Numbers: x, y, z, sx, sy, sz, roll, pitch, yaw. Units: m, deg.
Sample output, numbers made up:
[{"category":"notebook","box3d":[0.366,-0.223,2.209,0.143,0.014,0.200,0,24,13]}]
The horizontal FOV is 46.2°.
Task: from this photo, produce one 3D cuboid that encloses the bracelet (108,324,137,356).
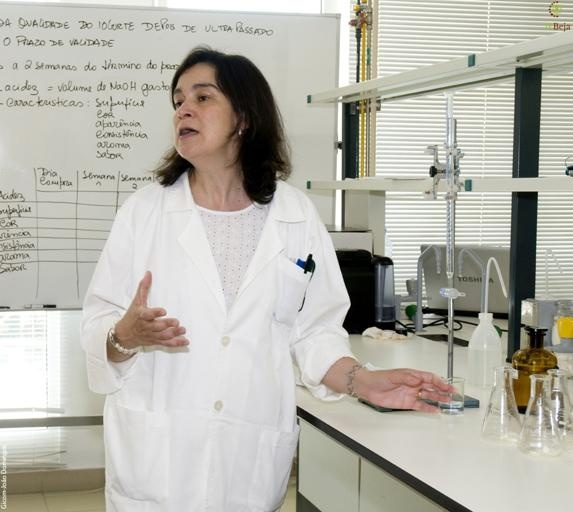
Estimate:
[{"category":"bracelet","box3d":[-0.376,0.201,1.537,0.056,0.026,0.062,29,23,-27]}]
